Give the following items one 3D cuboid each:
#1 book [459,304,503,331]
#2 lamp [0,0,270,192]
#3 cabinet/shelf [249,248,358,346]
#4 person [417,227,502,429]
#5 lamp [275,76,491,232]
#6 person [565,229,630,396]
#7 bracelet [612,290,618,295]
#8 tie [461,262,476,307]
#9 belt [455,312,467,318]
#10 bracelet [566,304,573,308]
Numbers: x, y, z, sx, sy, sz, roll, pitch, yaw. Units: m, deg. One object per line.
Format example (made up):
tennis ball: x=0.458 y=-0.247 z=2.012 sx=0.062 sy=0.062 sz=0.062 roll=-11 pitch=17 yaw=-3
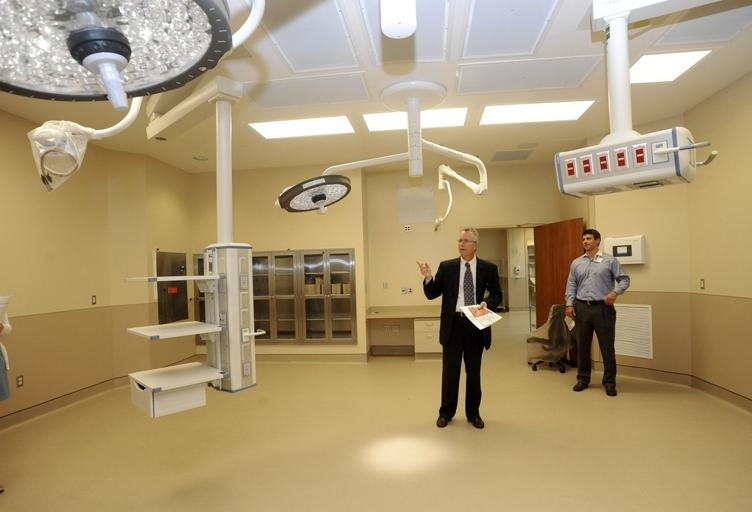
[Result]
book: x=1.016 y=0.644 z=4.992 sx=0.272 sy=0.065 sz=0.272 roll=11 pitch=19 yaw=16
lamp: x=-2.063 y=-1.142 z=3.879 sx=1.887 sy=0.790 sz=1.461 roll=-24 pitch=3 yaw=10
cabinet/shelf: x=-1.072 y=0.661 z=8.005 sx=1.512 sy=1.337 sz=0.546 roll=-1 pitch=-4 yaw=4
person: x=0.927 y=0.793 z=5.399 sx=0.859 sy=2.124 sz=0.633 roll=-2 pitch=12 yaw=1
lamp: x=0.585 y=-0.993 z=5.123 sx=2.914 sy=1.561 sz=1.172 roll=3 pitch=-2 yaw=-3
person: x=2.748 y=0.696 z=6.300 sx=0.698 sy=1.984 sz=0.660 roll=4 pitch=13 yaw=24
bracelet: x=2.910 y=0.451 z=6.104 sx=0.051 sy=0.015 sz=0.050 roll=-25 pitch=9 yaw=-36
tie: x=0.970 y=0.289 z=5.283 sx=0.140 sy=0.427 sz=0.128 roll=-10 pitch=14 yaw=-35
belt: x=0.898 y=0.614 z=5.275 sx=0.068 sy=0.069 sz=0.023 roll=9 pitch=39 yaw=16
bracelet: x=2.510 y=0.643 z=6.509 sx=0.081 sy=0.062 sz=0.083 roll=1 pitch=-2 yaw=13
